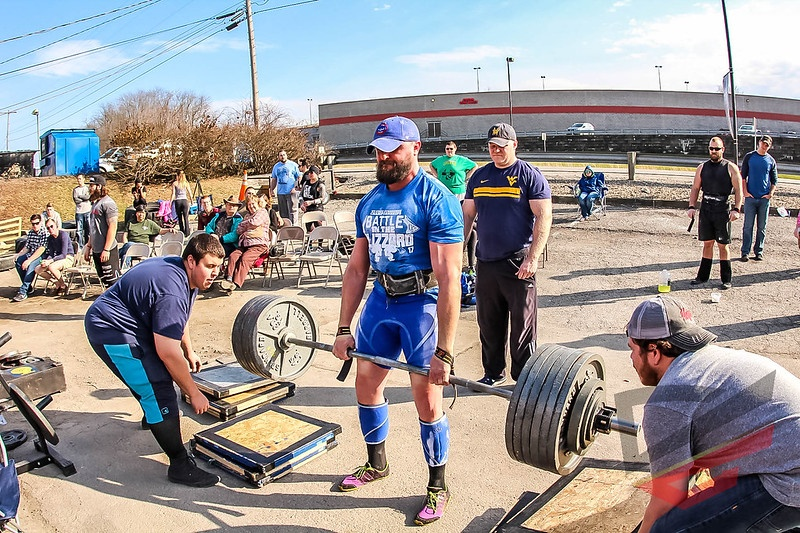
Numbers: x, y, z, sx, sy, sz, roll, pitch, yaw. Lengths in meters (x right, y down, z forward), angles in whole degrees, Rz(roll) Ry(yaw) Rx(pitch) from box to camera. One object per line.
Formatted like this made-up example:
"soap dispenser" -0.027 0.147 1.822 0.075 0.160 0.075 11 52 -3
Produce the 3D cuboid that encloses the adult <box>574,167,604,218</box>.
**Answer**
"adult" 4.739 -1.885 15.371 0.818 1.263 0.776 -2 7 -32

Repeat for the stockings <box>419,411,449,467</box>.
"stockings" 0.275 1.279 4.537 0.240 0.336 0.214 -4 5 -16

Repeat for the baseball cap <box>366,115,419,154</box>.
"baseball cap" -0.060 -0.987 4.503 0.310 0.236 0.460 11 24 40

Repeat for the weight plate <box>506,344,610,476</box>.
"weight plate" 1.077 1.011 4.132 0.597 0.800 0.820 14 28 25

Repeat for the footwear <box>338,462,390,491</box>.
"footwear" -0.289 1.642 4.837 0.428 0.160 0.149 -11 0 -19

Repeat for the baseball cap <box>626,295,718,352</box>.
"baseball cap" 1.577 0.313 3.548 0.342 0.273 0.521 -4 3 -41

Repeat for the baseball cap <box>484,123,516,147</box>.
"baseball cap" 0.969 -1.263 5.852 0.286 0.156 0.192 1 3 -43

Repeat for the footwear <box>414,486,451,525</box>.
"footwear" 0.236 1.738 4.463 0.131 0.138 0.345 -4 1 22

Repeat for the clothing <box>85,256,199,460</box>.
"clothing" -2.032 0.595 4.823 0.783 1.295 0.409 -1 11 5

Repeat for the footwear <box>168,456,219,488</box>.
"footwear" -1.651 1.624 4.892 0.462 0.276 0.183 0 -3 -4

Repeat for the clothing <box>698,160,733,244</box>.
"clothing" 4.477 -0.906 8.676 0.417 1.154 0.384 4 12 29

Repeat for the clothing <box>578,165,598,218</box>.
"clothing" 4.694 -1.851 15.281 0.552 1.245 0.995 4 12 29

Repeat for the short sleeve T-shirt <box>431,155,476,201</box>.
"short sleeve T-shirt" 0.824 -1.481 9.932 0.712 0.627 0.379 5 15 22

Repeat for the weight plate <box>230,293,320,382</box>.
"weight plate" -1.145 0.691 5.606 0.310 0.745 0.770 5 -13 40

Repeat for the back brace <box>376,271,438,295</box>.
"back brace" 0.060 0.128 4.521 0.273 0.112 0.204 -3 5 5
